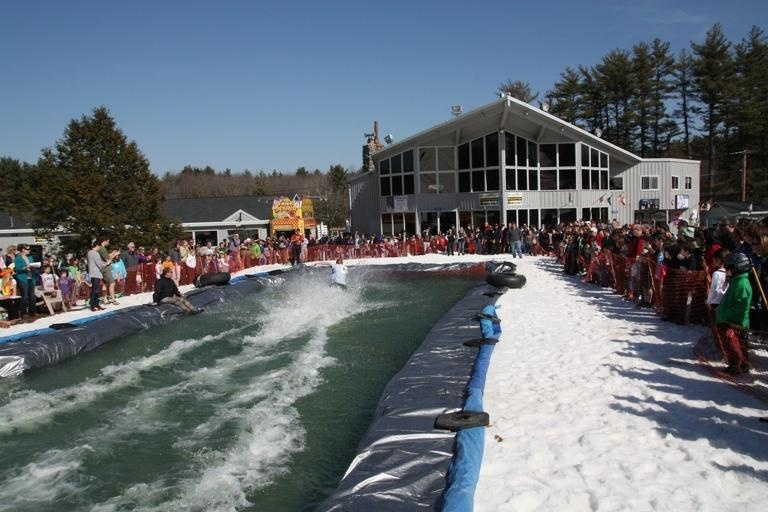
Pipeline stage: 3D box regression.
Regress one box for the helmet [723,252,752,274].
[{"bbox_3d":[7.597,0.148,10.840,0.502,0.448,0.402,11,23,31],"label":"helmet"}]
